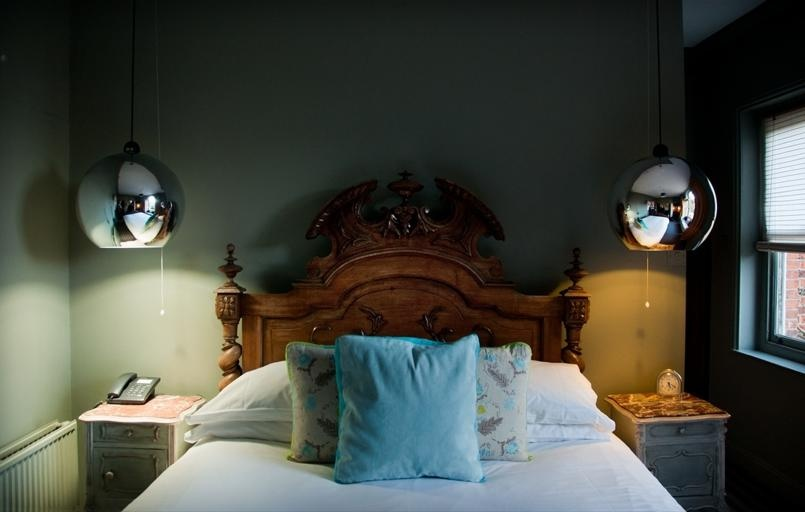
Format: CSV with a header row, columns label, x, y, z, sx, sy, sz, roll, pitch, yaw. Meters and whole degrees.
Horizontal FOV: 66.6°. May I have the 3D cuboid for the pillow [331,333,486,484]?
label,x,y,z,sx,sy,sz,roll,pitch,yaw
pillow,0.014,0.906,3.537,0.840,0.792,0.296,0,-10,2

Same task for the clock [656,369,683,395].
label,x,y,z,sx,sy,sz,roll,pitch,yaw
clock,1.849,0.877,4.220,0.183,0.202,0.115,-2,-4,25

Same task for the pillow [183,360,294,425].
label,x,y,z,sx,sy,sz,roll,pitch,yaw
pillow,-1.036,0.882,3.916,0.634,0.350,0.237,-1,-3,-8
